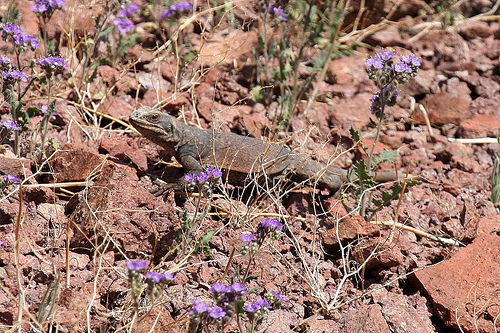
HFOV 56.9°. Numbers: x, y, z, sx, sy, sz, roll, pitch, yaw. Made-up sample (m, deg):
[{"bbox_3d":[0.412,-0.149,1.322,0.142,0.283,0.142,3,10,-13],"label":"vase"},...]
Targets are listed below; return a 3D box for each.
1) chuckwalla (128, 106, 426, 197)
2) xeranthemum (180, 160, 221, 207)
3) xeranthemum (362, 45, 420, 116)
[{"bbox_3d":[-0.083,-0.181,6.051,2.991,1.035,0.980,5,54,-6],"label":"chuckwalla"},{"bbox_3d":[-0.520,0.193,4.973,0.477,0.465,0.439,-22,27,4],"label":"xeranthemum"},{"bbox_3d":[1.607,-0.997,5.605,0.499,0.835,0.521,39,58,18],"label":"xeranthemum"}]
